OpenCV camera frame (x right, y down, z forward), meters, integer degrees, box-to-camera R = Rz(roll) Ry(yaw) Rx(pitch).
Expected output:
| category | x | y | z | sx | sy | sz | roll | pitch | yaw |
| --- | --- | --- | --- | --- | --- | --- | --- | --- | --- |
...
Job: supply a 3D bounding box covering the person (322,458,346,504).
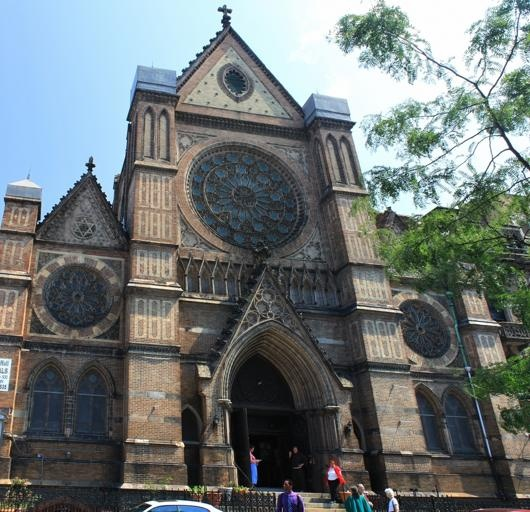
| category | x | y | z | sx | sy | sz | roll | pitch | yaw |
| --- | --- | --- | --- | --- | --- | --- | --- | --- | --- |
| person | 2.457 | 7.924 | 18.791 | 0.687 | 1.385 | 2.293 | -8 | -24 | 4 |
